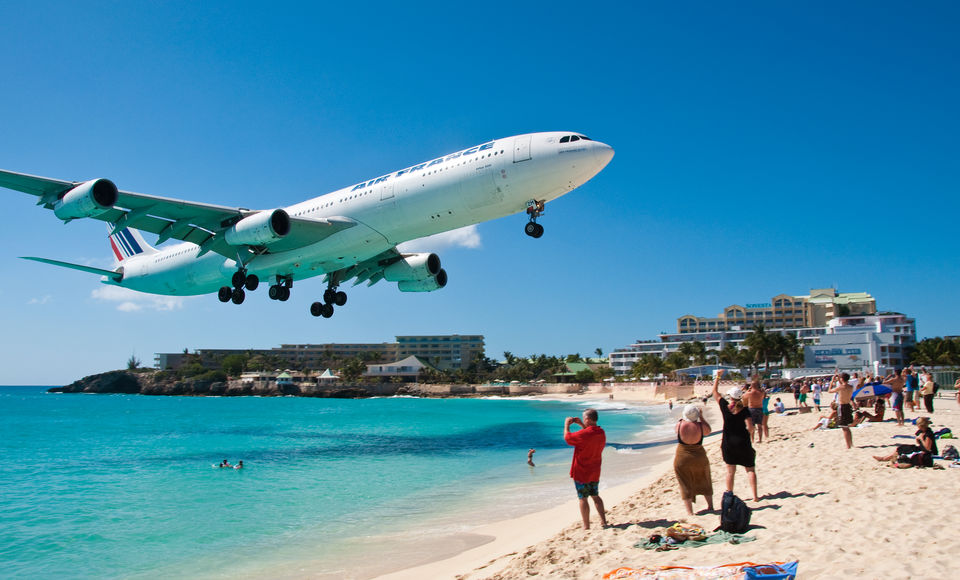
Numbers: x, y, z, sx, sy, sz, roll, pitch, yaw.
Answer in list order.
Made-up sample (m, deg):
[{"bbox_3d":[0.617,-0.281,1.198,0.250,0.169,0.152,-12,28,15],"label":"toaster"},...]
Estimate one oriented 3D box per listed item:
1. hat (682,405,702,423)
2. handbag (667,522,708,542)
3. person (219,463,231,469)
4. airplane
[{"bbox_3d":[7.028,4.073,23.190,0.632,0.531,0.560,-2,-8,14],"label":"hat"},{"bbox_3d":[6.788,7.945,23.072,1.298,0.478,0.764,-1,-8,13],"label":"handbag"},{"bbox_3d":[-16.659,11.348,45.494,0.997,0.260,0.893,1,-3,-9],"label":"person"},{"bbox_3d":[-7.197,-2.776,36.444,26.778,7.494,10.326,0,-8,3],"label":"airplane"}]
